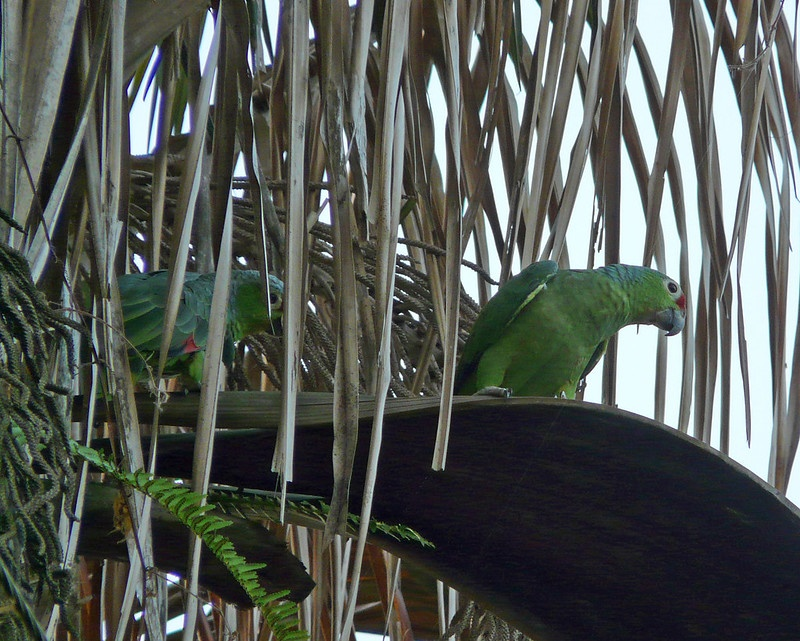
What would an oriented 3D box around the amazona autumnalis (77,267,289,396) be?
[{"bbox_3d":[-0.382,0.003,3.649,0.398,0.281,0.193,14,-15,-42],"label":"amazona autumnalis"}]
